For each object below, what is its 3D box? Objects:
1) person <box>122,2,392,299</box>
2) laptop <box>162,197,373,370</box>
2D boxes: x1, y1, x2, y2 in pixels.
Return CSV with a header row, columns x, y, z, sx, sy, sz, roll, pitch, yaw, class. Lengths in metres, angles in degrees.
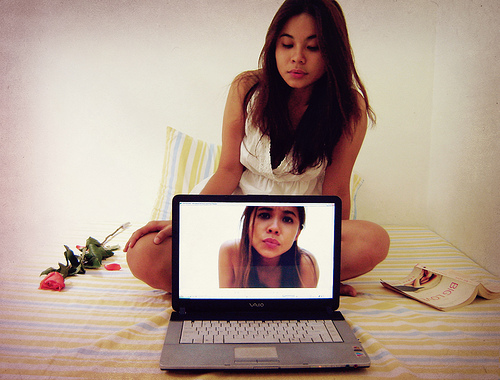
x,y,z,sx,sy,sz,roll,pitch,yaw,class
0.040,-0.192,1.689,0.968,1.051,0.644,9,4,1,person
0.028,0.159,1.376,0.603,0.414,0.463,1,8,0,laptop
